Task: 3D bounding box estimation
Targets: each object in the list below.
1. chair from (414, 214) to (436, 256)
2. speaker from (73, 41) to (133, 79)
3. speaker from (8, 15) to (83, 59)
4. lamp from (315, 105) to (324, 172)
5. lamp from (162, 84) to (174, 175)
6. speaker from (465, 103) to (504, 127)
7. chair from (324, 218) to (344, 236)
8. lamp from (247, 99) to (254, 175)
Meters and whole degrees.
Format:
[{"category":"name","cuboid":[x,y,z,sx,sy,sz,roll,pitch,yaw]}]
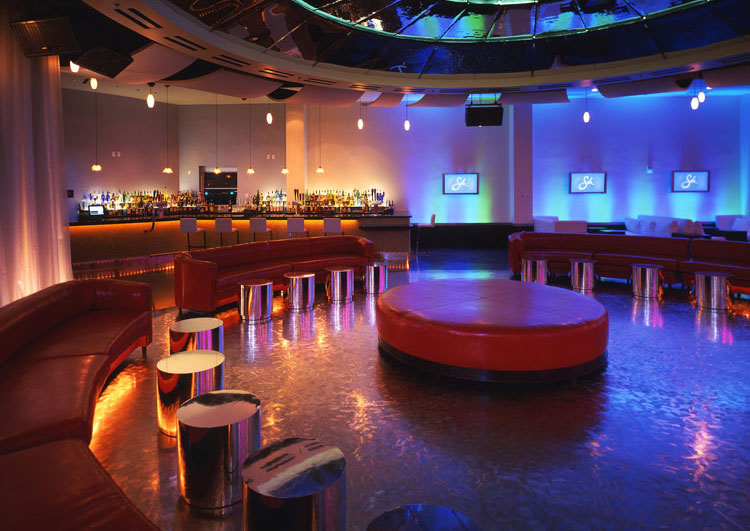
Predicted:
[{"category":"chair","cuboid":[1.311,-0.888,15.042,0.611,0.982,1.940,-2,8,4]},{"category":"speaker","cuboid":[-4.107,-3.145,8.533,0.724,0.338,0.788,5,11,44]},{"category":"speaker","cuboid":[-4.226,-2.971,7.186,0.904,0.397,0.379,-1,8,14]},{"category":"lamp","cuboid":[-1.607,-3.579,16.051,0.222,1.865,0.268,-2,8,-2]},{"category":"lamp","cuboid":[-5.466,-3.455,14.656,0.310,2.058,1.393,-5,8,-20]},{"category":"speaker","cuboid":[2.500,-3.433,12.631,0.765,0.489,0.590,0,8,19]},{"category":"chair","cuboid":[-0.837,-0.806,11.603,0.299,0.457,0.347,1,12,3]},{"category":"lamp","cuboid":[-3.471,-3.517,15.618,0.167,1.925,0.113,-4,8,-12]}]
